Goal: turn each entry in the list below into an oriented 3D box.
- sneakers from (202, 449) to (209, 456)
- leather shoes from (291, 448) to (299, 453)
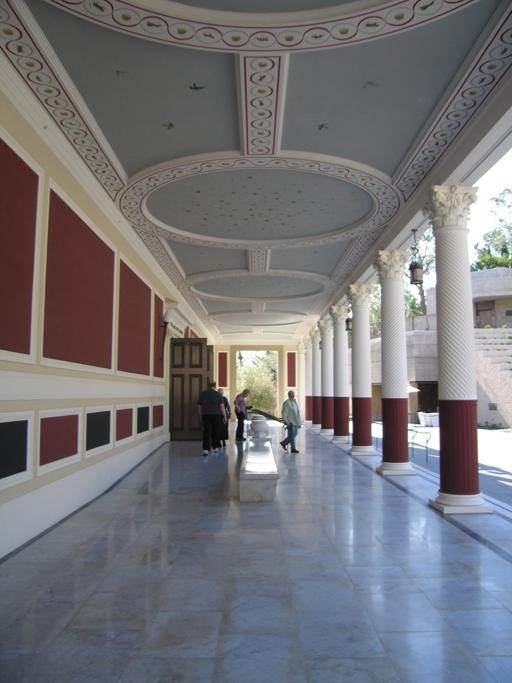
[{"bbox_3d":[-1.191,2.617,10.997,0.096,0.141,0.146,2,-1,0],"label":"sneakers"},{"bbox_3d":[0.973,2.765,11.819,0.201,0.138,0.071,-2,0,-7],"label":"leather shoes"}]
